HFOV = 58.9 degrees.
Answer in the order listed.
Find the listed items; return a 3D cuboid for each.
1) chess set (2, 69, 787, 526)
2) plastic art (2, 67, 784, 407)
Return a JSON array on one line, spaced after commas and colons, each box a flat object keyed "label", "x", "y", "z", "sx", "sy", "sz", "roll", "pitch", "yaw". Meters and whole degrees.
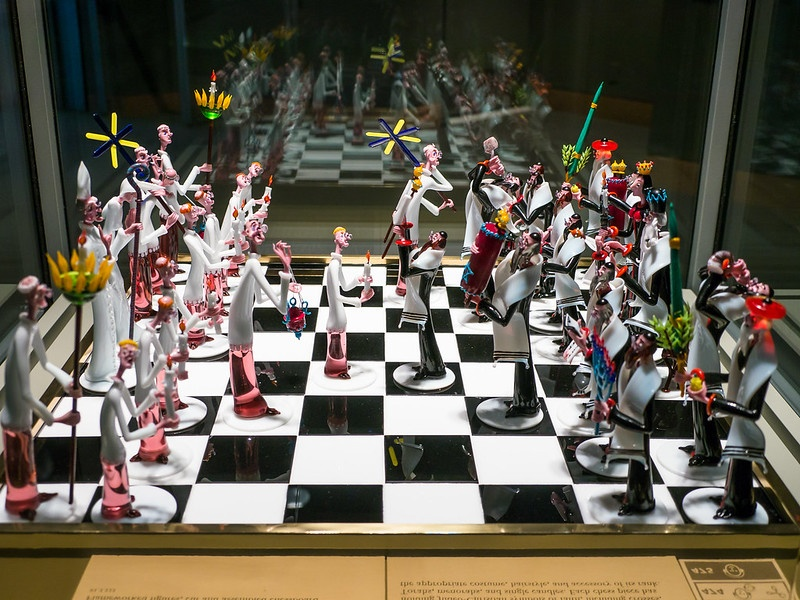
[{"label": "chess set", "x": -0.017, "y": -0.058, "z": 4.042, "sx": 3.829, "sy": 1.429, "sz": 2.000, "roll": 0, "pitch": 19, "yaw": -2}, {"label": "plastic art", "x": -0.124, "y": -0.538, "z": 5.476, "sx": 2.934, "sy": 2.284, "sz": 3.316, "roll": -6, "pitch": 23, "yaw": -1}]
